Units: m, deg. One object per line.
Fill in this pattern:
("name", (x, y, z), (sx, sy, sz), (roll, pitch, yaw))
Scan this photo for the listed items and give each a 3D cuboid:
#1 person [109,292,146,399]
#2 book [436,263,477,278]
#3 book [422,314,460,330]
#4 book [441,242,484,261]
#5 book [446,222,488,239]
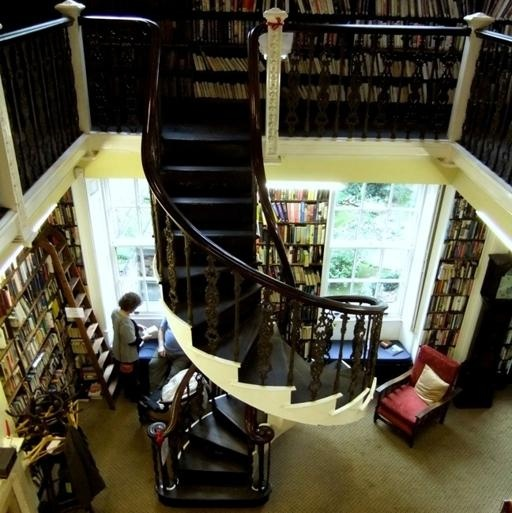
("person", (-1.676, 1.189, 5.442), (0.496, 1.484, 0.580), (-26, 54, -35))
("book", (2.563, 0.186, 5.488), (0.267, 0.092, 0.261), (2, 18, 7))
("book", (2.549, 0.877, 5.908), (0.308, 0.071, 0.310), (-3, 8, 1))
("book", (2.622, -0.120, 5.560), (0.469, 0.238, 0.423), (1, 12, 1))
("book", (2.620, -0.342, 5.298), (0.451, 0.264, 0.054), (3, 29, 3))
